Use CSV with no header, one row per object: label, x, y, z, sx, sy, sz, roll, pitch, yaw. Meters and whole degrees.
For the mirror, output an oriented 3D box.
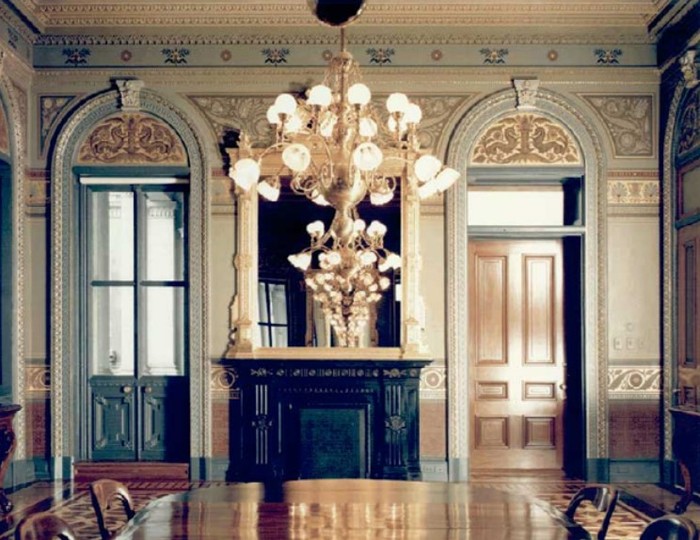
mirror,-0.200,-0.107,13.630,2.708,2.226,0.193,-1,-7,-1
